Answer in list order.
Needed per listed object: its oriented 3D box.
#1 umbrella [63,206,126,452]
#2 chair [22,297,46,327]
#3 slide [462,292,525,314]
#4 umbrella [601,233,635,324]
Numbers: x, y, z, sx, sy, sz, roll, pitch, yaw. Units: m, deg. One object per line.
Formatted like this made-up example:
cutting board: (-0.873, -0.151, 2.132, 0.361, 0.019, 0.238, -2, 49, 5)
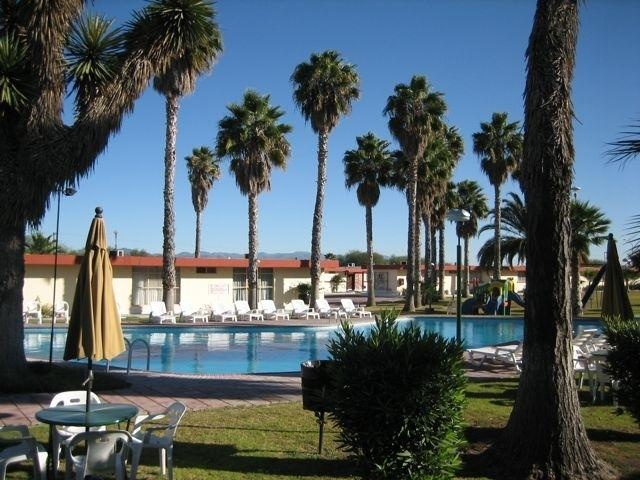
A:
umbrella: (-3.245, 0.996, 8.650, 0.784, 2.978, 0.817, 10, 6, 39)
chair: (-12.382, 3.028, 26.260, 0.782, 1.234, 3.177, 3, -10, -25)
slide: (8.779, 3.278, 31.168, 2.679, 1.175, 1.640, -6, -10, 31)
umbrella: (6.084, 0.747, 12.515, 0.531, 1.815, 0.864, -4, -8, 27)
